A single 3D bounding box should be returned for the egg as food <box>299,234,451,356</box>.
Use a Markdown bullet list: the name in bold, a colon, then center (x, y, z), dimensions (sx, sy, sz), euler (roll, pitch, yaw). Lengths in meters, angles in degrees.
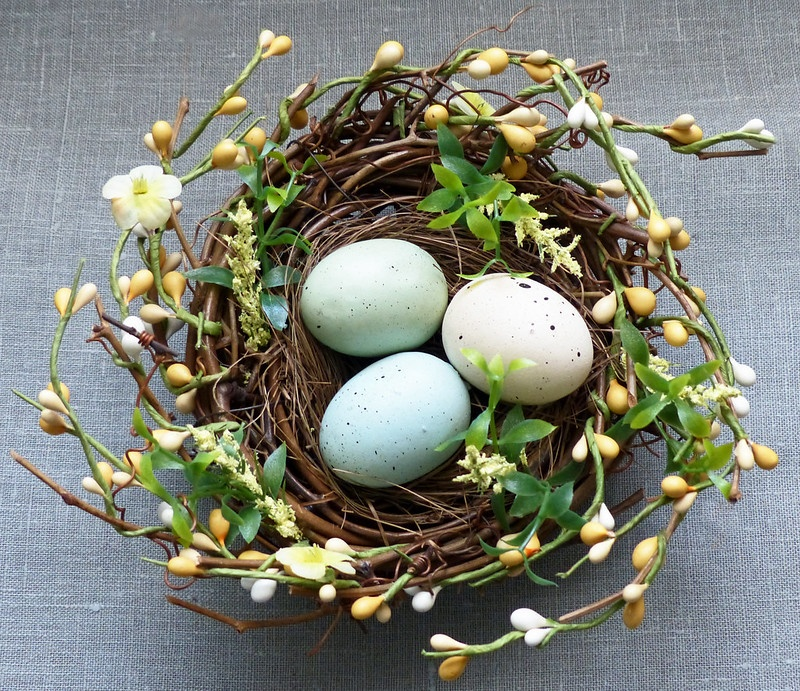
- **egg as food**: center (-0.030, -0.061, 1.289), dimensions (0.208, 0.128, 0.105), euler (-4, 79, -3)
